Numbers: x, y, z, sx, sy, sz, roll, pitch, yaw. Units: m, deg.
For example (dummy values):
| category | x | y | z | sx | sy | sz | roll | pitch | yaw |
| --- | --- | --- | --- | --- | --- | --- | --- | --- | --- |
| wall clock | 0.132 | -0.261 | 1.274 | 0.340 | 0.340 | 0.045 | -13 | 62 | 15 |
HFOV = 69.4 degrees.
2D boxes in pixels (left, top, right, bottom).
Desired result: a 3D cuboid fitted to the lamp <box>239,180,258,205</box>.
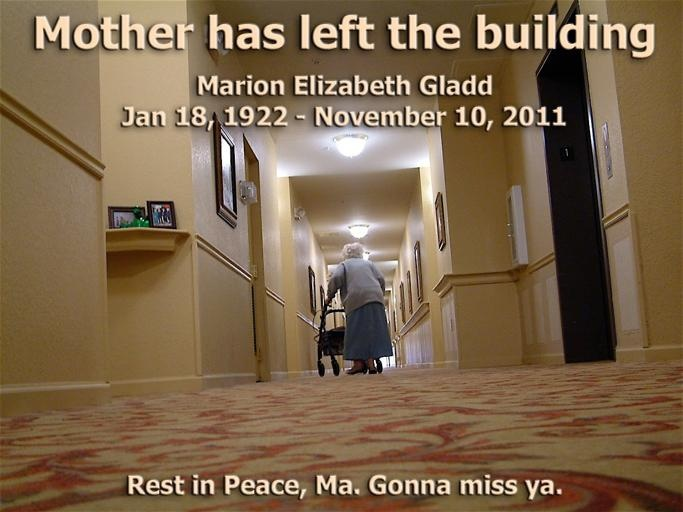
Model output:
| category | x | y | z | sx | sy | sz | roll | pitch | yaw |
| --- | --- | --- | --- | --- | --- | --- | --- | --- | --- |
| lamp | -1.154 | -0.804 | 6.062 | 0.150 | 0.300 | 0.310 | -2 | -11 | 1 |

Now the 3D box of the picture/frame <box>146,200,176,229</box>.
| category | x | y | z | sx | sy | sz | roll | pitch | yaw |
| --- | --- | --- | --- | --- | --- | --- | --- | --- | --- |
| picture/frame | -1.524 | -0.339 | 4.133 | 0.219 | 0.290 | 0.036 | -2 | -24 | -26 |

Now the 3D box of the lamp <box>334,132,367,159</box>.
| category | x | y | z | sx | sy | sz | roll | pitch | yaw |
| --- | --- | --- | --- | --- | --- | --- | --- | --- | --- |
| lamp | 0.197 | -1.824 | 8.145 | 0.383 | 0.278 | 0.383 | -13 | 16 | -41 |

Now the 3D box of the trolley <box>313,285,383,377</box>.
| category | x | y | z | sx | sy | sz | roll | pitch | yaw |
| --- | --- | --- | --- | --- | --- | --- | --- | --- | --- |
| trolley | -0.019 | 1.223 | 7.835 | 0.764 | 1.274 | 0.928 | -3 | -8 | -10 |

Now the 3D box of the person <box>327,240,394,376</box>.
| category | x | y | z | sx | sy | sz | roll | pitch | yaw |
| --- | --- | --- | --- | --- | --- | --- | --- | --- | --- |
| person | 0.216 | 0.752 | 6.926 | 0.822 | 1.931 | 0.898 | -4 | -23 | 5 |
